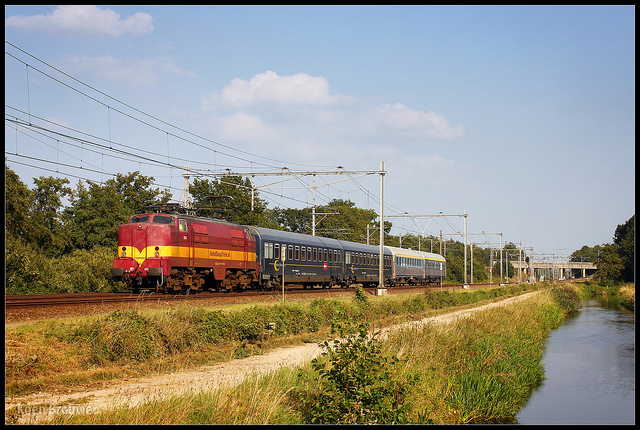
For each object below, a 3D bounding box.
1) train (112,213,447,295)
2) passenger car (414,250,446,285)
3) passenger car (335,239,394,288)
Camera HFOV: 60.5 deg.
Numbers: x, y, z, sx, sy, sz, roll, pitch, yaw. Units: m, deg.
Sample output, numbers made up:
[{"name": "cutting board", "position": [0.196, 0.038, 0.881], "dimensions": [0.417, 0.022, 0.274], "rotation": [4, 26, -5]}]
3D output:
[{"name": "train", "position": [-0.861, 2.898, 40.086], "dimensions": [23.292, 3.379, 2.753], "rotation": [6, -1, -16]}, {"name": "passenger car", "position": [12.429, 6.422, 67.574], "dimensions": [1.977, 4.023, 11.444], "rotation": [-5, -10, 37]}, {"name": "passenger car", "position": [3.811, 4.466, 50.992], "dimensions": [2.170, 3.123, 9.502], "rotation": [-3, -8, 24]}]
